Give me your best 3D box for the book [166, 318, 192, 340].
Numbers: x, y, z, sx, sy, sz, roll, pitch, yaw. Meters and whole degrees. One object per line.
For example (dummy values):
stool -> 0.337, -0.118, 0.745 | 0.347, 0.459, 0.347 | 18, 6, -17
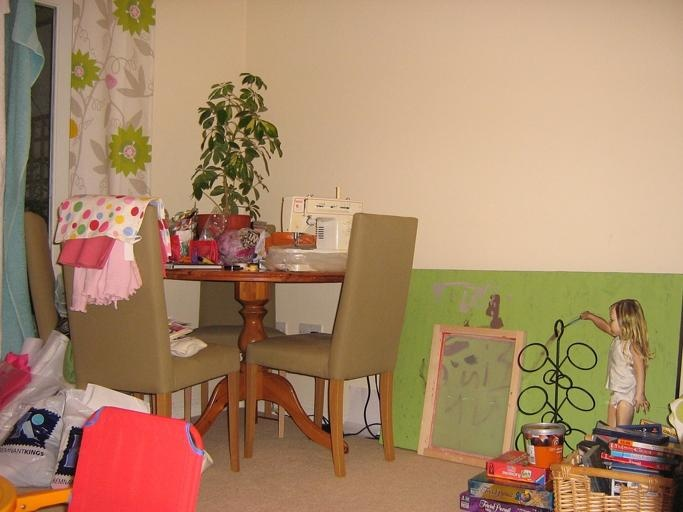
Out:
book -> -0.846, 0.375, 2.985 | 0.102, 0.033, 0.103 | -3, 9, -29

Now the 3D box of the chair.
chair -> -0.364, 0.445, 3.073 | 1.495, 1.352, 0.718 | -3, 6, -24

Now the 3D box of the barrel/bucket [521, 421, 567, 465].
barrel/bucket -> 0.947, 0.874, 2.790 | 0.181, 0.158, 0.190 | -2, -5, 0
